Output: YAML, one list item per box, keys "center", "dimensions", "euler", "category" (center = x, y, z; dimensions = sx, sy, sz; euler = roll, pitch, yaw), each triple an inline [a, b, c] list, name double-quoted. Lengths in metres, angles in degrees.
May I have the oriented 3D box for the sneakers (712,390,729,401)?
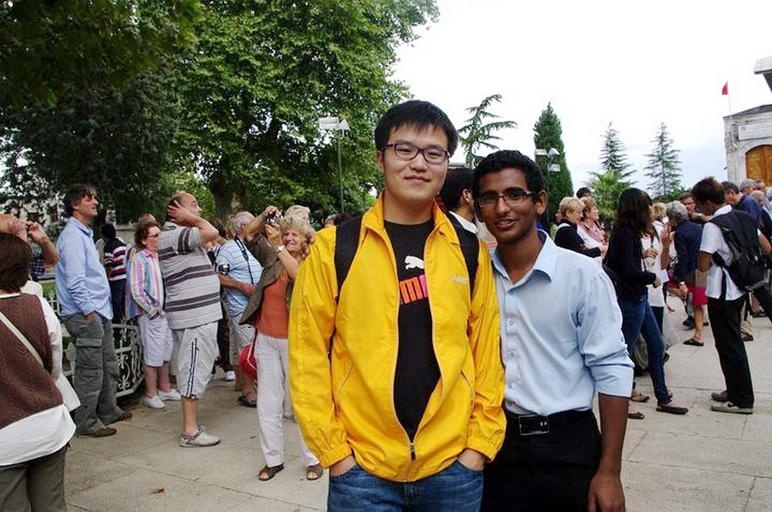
- center: [4.223, 1.740, 6.888]
  dimensions: [0.286, 0.114, 0.104]
  euler: [3, -2, 4]
  category: "sneakers"

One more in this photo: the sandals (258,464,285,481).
- center: [-1.161, 2.180, 5.540]
  dimensions: [0.101, 0.099, 0.243]
  euler: [-7, -19, 30]
  category: "sandals"

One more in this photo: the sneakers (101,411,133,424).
- center: [-3.369, 2.030, 6.910]
  dimensions: [0.104, 0.138, 0.327]
  euler: [11, 12, 41]
  category: "sneakers"

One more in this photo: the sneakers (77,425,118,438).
- center: [-3.369, 2.064, 6.451]
  dimensions: [0.400, 0.156, 0.144]
  euler: [0, -4, -15]
  category: "sneakers"

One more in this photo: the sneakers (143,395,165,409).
- center: [-3.140, 1.978, 7.517]
  dimensions: [0.355, 0.141, 0.134]
  euler: [0, -1, 28]
  category: "sneakers"

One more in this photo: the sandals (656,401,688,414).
- center: [3.467, 1.815, 6.675]
  dimensions: [0.280, 0.112, 0.150]
  euler: [-1, -4, 16]
  category: "sandals"

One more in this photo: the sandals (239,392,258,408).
- center: [-1.884, 1.973, 7.605]
  dimensions: [0.202, 0.169, 0.461]
  euler: [4, -8, -36]
  category: "sandals"

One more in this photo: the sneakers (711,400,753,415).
- center: [4.144, 1.807, 6.634]
  dimensions: [0.429, 0.168, 0.159]
  euler: [5, -2, 22]
  category: "sneakers"

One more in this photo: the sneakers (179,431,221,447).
- center: [-2.102, 2.070, 6.205]
  dimensions: [0.360, 0.143, 0.188]
  euler: [1, -2, -5]
  category: "sneakers"

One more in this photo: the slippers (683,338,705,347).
- center: [5.345, 1.492, 9.570]
  dimensions: [0.296, 0.118, 0.130]
  euler: [7, 5, 38]
  category: "slippers"
